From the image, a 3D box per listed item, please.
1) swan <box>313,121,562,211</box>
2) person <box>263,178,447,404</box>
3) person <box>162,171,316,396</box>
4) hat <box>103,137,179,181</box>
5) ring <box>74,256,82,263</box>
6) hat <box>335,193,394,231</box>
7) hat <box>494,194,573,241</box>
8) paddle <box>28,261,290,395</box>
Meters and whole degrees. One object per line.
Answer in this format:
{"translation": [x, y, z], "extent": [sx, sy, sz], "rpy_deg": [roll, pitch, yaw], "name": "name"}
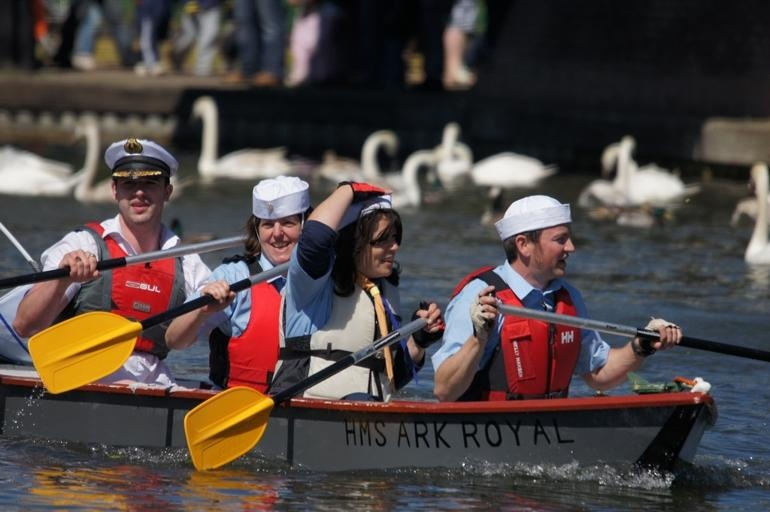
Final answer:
{"translation": [0.395, -1.549, 29.447], "extent": [5.310, 1.729, 1.399], "rpy_deg": [-1, -13, 4], "name": "swan"}
{"translation": [-0.326, 0.346, 18.059], "extent": [1.445, 2.199, 0.661], "rpy_deg": [0, 5, -16], "name": "person"}
{"translation": [-1.447, 0.274, 18.490], "extent": [1.104, 2.454, 1.189], "rpy_deg": [0, -3, 16], "name": "person"}
{"translation": [-2.526, -0.999, 18.718], "extent": [0.733, 0.310, 0.798], "rpy_deg": [-4, -3, -10], "name": "hat"}
{"translation": [-3.041, 0.017, 17.993], "extent": [0.046, 0.060, 0.018], "rpy_deg": [5, -7, -8], "name": "ring"}
{"translation": [-0.216, -0.451, 17.892], "extent": [0.537, 0.357, 0.189], "rpy_deg": [1, 5, -15], "name": "hat"}
{"translation": [1.449, -0.405, 18.225], "extent": [0.886, 0.389, 0.596], "rpy_deg": [-6, -2, 10], "name": "hat"}
{"translation": [-2.253, 0.570, 19.004], "extent": [0.200, 0.645, 3.243], "rpy_deg": [-15, 7, 46], "name": "paddle"}
